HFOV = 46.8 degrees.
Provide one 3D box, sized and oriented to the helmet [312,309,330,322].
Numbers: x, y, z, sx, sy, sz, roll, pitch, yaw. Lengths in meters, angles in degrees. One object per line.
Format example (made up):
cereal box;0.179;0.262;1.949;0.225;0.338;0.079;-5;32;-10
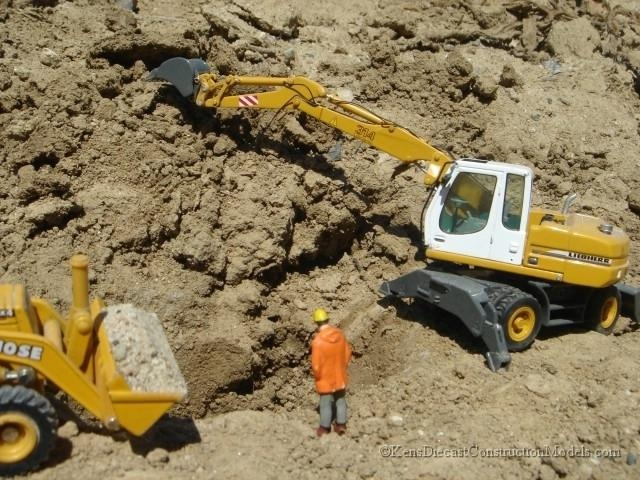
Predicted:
helmet;-0.004;1.207;11.413;0.211;0.229;0.222;5;26;25
